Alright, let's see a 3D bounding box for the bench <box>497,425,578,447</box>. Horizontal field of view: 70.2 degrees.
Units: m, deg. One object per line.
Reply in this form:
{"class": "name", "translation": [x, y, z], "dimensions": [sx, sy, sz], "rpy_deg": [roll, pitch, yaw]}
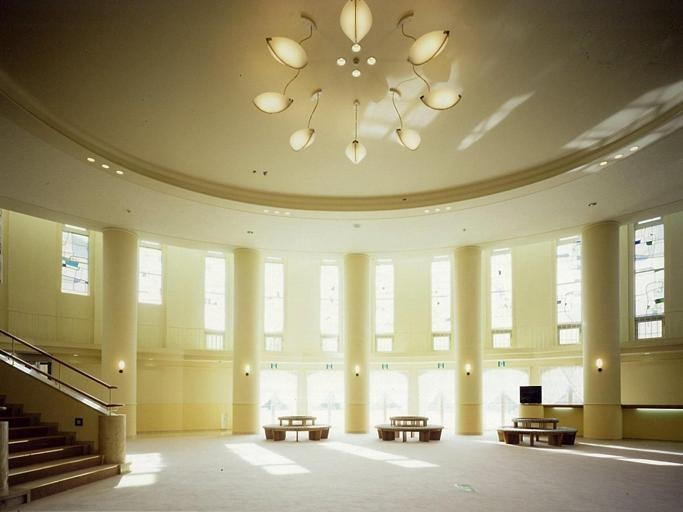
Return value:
{"class": "bench", "translation": [6.733, 6.260, 16.885], "dimensions": [2.171, 0.598, 2.506], "rpy_deg": [5, -16, -19]}

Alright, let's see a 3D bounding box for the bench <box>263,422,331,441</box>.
{"class": "bench", "translation": [-1.670, 6.598, 18.114], "dimensions": [2.330, 0.525, 1.992], "rpy_deg": [-1, -15, 1]}

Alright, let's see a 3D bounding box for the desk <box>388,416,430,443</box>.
{"class": "desk", "translation": [2.560, 6.634, 18.465], "dimensions": [1.295, 0.884, 1.372], "rpy_deg": [-4, -12, 23]}

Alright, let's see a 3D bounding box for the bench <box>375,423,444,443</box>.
{"class": "bench", "translation": [2.494, 6.519, 17.833], "dimensions": [2.321, 0.558, 2.145], "rpy_deg": [-2, -15, 7]}
